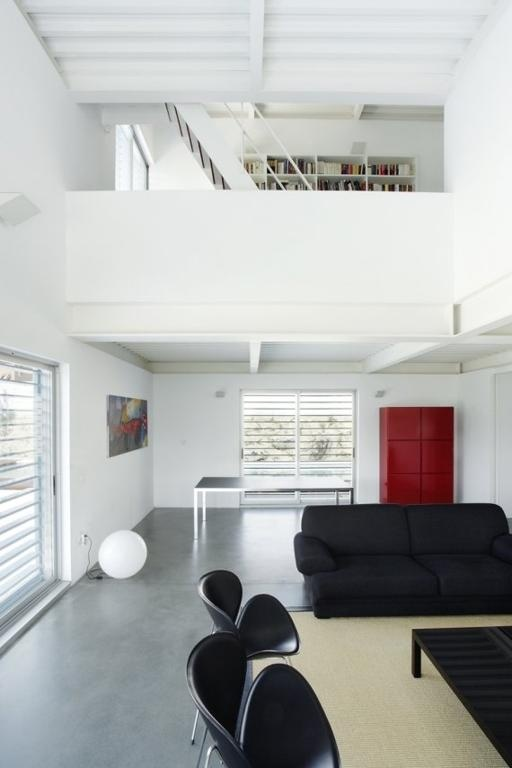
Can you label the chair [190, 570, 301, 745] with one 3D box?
[{"bbox_3d":[-0.012,1.312,3.218,0.611,0.933,0.705,-3,2,2],"label":"chair"}]
